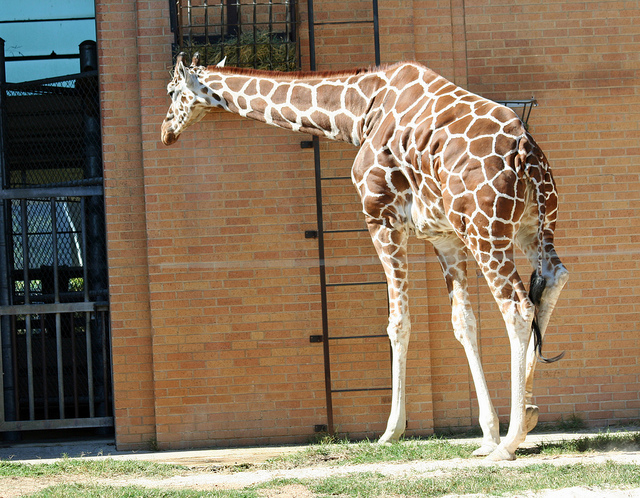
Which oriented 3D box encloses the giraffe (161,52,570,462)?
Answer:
[{"bbox_3d":[0.836,0.050,17.928,3.105,3.714,1.129,3,11,39],"label":"giraffe"}]
